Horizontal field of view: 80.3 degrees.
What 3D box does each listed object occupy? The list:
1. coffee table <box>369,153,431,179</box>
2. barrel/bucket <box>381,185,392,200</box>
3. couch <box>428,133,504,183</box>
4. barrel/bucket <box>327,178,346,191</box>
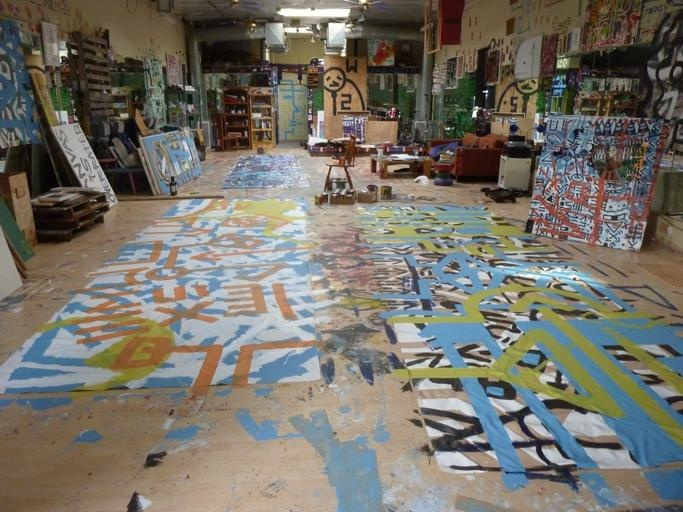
[{"bbox_3d":[1.519,-2.420,10.474,1.254,0.373,1.020,0,14,-7],"label":"coffee table"},{"bbox_3d":[0.882,-1.303,8.194,0.367,0.297,0.305,1,9,7],"label":"barrel/bucket"},{"bbox_3d":[3.137,-2.642,10.634,1.908,1.100,2.820,4,21,9],"label":"couch"},{"bbox_3d":[-0.112,-1.444,8.092,0.428,0.240,0.418,0,15,0],"label":"barrel/bucket"}]
